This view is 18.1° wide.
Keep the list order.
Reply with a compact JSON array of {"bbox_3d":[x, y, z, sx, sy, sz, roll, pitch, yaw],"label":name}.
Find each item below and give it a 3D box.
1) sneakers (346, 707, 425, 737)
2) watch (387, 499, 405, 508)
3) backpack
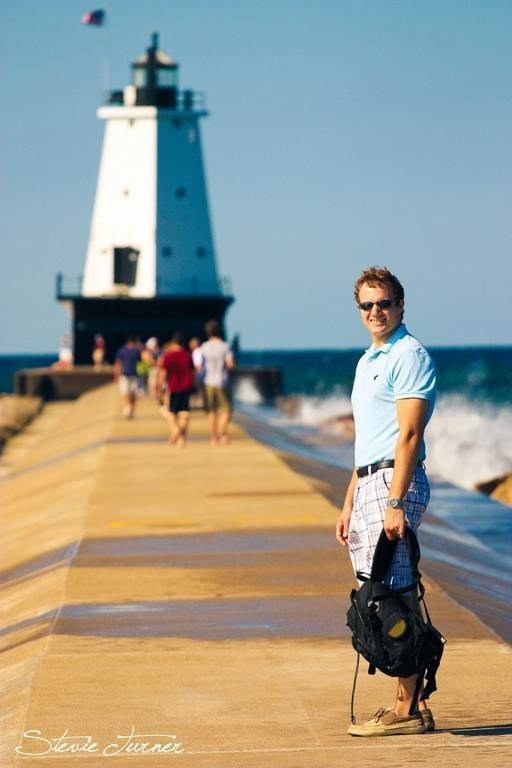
[{"bbox_3d":[0.573,1.489,7.088,0.343,0.138,0.127,2,-13,-1],"label":"sneakers"},{"bbox_3d":[0.601,0.507,6.831,0.055,0.035,0.056,-1,-5,-7],"label":"watch"},{"bbox_3d":[0.614,0.992,6.987,0.423,0.714,0.257,7,2,3],"label":"backpack"}]
